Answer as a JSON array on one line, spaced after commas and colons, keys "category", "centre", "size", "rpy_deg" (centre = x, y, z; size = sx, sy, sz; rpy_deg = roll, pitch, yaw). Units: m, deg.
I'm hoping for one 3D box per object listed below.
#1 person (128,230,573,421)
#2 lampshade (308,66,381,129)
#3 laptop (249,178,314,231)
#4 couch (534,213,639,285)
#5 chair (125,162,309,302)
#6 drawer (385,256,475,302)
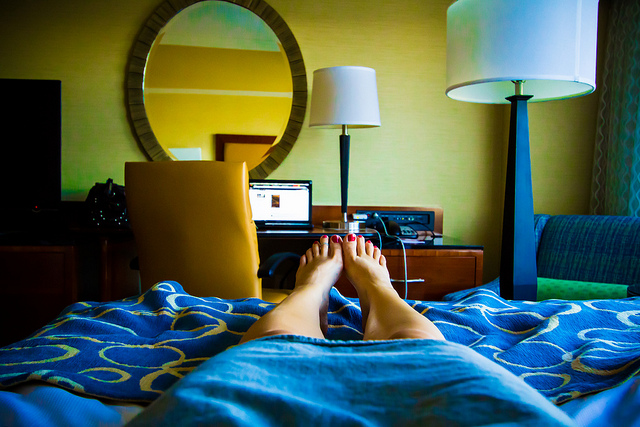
[{"category": "person", "centre": [0.084, 0.358, 1.613], "size": [1.014, 0.227, 0.880], "rpy_deg": [-1, 4, 2]}, {"category": "lampshade", "centre": [0.138, -0.627, 2.905], "size": [0.436, 0.322, 0.448], "rpy_deg": [0, 1, 11]}, {"category": "laptop", "centre": [-0.241, -0.038, 2.850], "size": [0.389, 0.274, 0.236], "rpy_deg": [2, 10, 6]}, {"category": "couch", "centre": [1.329, 0.177, 2.595], "size": [0.556, 0.392, 0.308], "rpy_deg": [0, -2, 35]}, {"category": "chair", "centre": [-0.419, 0.094, 2.534], "size": [0.655, 0.983, 0.668], "rpy_deg": [0, 4, 11]}, {"category": "drawer", "centre": [0.540, 0.306, 2.542], "size": [0.398, 0.379, 0.233], "rpy_deg": [0, 1, 2]}]
